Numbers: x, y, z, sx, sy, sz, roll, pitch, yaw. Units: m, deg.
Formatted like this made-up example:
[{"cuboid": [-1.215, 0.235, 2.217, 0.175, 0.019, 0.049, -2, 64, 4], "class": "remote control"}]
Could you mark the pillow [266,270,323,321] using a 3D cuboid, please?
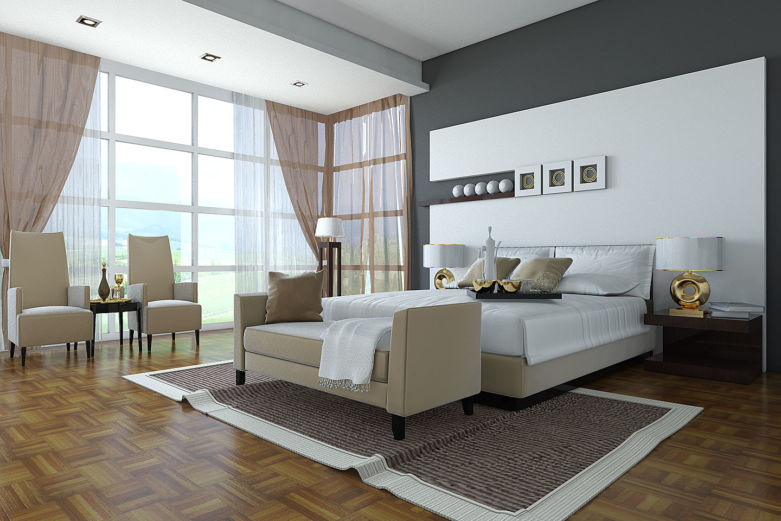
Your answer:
[{"cuboid": [-0.861, 0.336, 4.332, 0.417, 0.365, 0.138, 6, -20, -17], "class": "pillow"}]

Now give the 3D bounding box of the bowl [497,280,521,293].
[{"cuboid": [1.060, 0.238, 4.333, 0.140, 0.089, 0.140, 0, -3, 0], "class": "bowl"}]

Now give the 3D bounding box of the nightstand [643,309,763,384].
[{"cuboid": [3.128, 0.792, 4.752, 1.212, 0.770, 0.646, -1, -4, 35], "class": "nightstand"}]

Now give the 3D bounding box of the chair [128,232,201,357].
[{"cuboid": [-2.861, 0.387, 6.058, 0.802, 1.384, 1.055, -5, 9, -31], "class": "chair"}]

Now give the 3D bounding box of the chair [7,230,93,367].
[{"cuboid": [-3.790, 0.382, 5.328, 0.768, 1.373, 0.924, -6, 10, -37], "class": "chair"}]

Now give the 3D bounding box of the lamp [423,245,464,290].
[{"cuboid": [0.678, 0.110, 6.709, 0.611, 0.659, 0.620, 2, -3, -33], "class": "lamp"}]

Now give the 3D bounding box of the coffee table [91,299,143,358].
[{"cuboid": [-3.211, 0.738, 5.777, 0.608, 0.739, 0.787, -2, 1, -44], "class": "coffee table"}]

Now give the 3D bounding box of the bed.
[{"cuboid": [1.446, 0.539, 4.512, 1.952, 0.811, 2.001, 1, -4, -44], "class": "bed"}]

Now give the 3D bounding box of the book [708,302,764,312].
[{"cuboid": [3.266, 0.455, 4.587, 0.435, 0.075, 0.270, 5, 9, 36], "class": "book"}]
